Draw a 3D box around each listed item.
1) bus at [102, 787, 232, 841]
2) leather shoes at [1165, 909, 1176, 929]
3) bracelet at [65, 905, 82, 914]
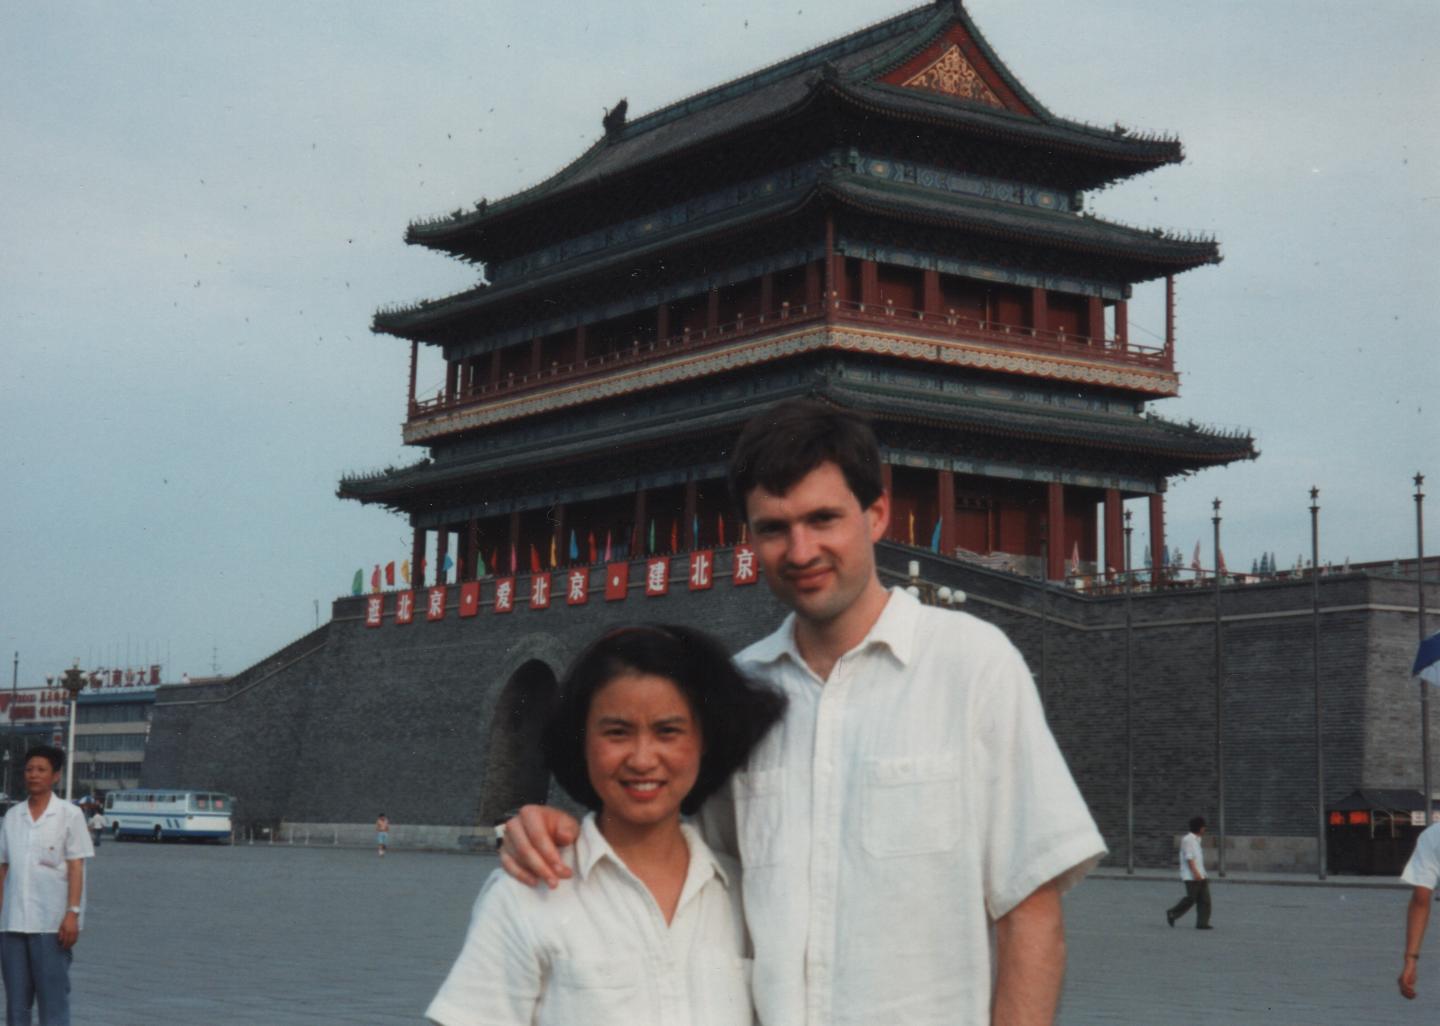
[{"bbox_3d":[-13.230,7.329,59.208,1.416,1.294,4.355,6,-13,-37],"label":"bus"},{"bbox_3d":[6.466,5.833,35.337,0.150,0.233,0.606,-8,-2,10],"label":"leather shoes"},{"bbox_3d":[-7.218,4.421,27.285,0.105,0.070,0.109,-19,-12,11],"label":"bracelet"}]
